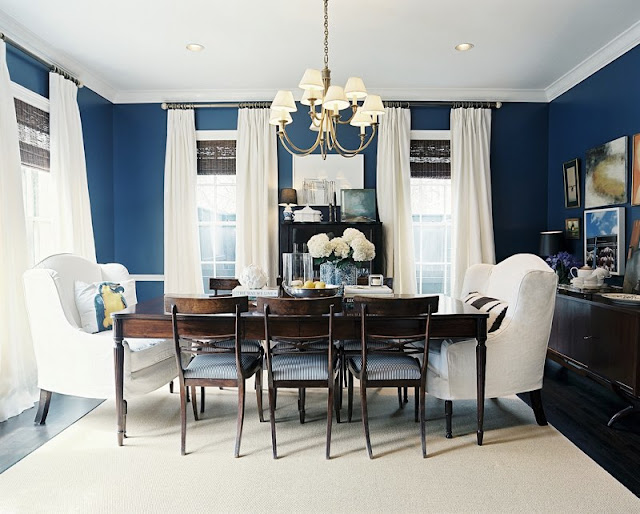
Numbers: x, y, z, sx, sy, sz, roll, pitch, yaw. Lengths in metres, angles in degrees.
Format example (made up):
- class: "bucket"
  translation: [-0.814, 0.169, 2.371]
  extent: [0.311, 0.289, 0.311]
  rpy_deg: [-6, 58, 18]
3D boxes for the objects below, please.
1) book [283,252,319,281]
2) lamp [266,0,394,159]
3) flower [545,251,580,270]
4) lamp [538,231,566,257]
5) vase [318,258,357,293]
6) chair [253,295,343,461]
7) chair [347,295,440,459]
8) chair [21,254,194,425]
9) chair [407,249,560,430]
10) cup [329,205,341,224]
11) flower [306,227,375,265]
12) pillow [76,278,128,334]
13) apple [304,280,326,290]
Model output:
- class: "book"
  translation: [-0.156, 0.087, 4.017]
  extent: [0.243, 0.227, 0.187]
  rpy_deg: [-4, 12, -19]
- class: "lamp"
  translation: [0.112, -1.847, 5.151]
  extent: [1.135, 1.979, 1.090]
  rpy_deg: [-2, 5, -15]
- class: "flower"
  translation: [2.790, 0.045, 5.822]
  extent: [0.275, 0.322, 0.279]
  rpy_deg: [-1, 0, -17]
- class: "lamp"
  translation: [2.708, -0.140, 5.960]
  extent: [0.253, 0.319, 0.272]
  rpy_deg: [-1, -1, 5]
- class: "vase"
  translation: [0.149, 0.156, 4.193]
  extent: [0.245, 0.273, 0.225]
  rpy_deg: [3, 2, 40]
- class: "chair"
  translation: [-0.164, 1.032, 3.852]
  extent: [0.587, 1.153, 0.737]
  rpy_deg: [-4, -32, 2]
- class: "chair"
  translation: [0.580, 0.880, 3.866]
  extent: [0.630, 1.209, 0.780]
  rpy_deg: [0, -3, -8]
- class: "chair"
  translation: [-1.793, 0.680, 4.369]
  extent: [0.976, 1.422, 0.995]
  rpy_deg: [1, 3, 16]
- class: "chair"
  translation: [1.128, 0.663, 4.565]
  extent: [1.229, 1.754, 1.202]
  rpy_deg: [0, -2, -6]
- class: "cup"
  translation: [0.200, -0.559, 6.493]
  extent: [0.137, 0.189, 0.130]
  rpy_deg: [0, 12, 0]
- class: "flower"
  translation: [0.218, -0.134, 4.210]
  extent: [0.494, 0.321, 0.376]
  rpy_deg: [-1, 36, 15]
- class: "pillow"
  translation: [-1.865, 0.429, 4.525]
  extent: [0.451, 0.537, 0.185]
  rpy_deg: [-3, 13, -35]
- class: "apple"
  translation: [-0.040, 0.206, 3.915]
  extent: [0.101, 0.049, 0.083]
  rpy_deg: [-9, -14, 26]
